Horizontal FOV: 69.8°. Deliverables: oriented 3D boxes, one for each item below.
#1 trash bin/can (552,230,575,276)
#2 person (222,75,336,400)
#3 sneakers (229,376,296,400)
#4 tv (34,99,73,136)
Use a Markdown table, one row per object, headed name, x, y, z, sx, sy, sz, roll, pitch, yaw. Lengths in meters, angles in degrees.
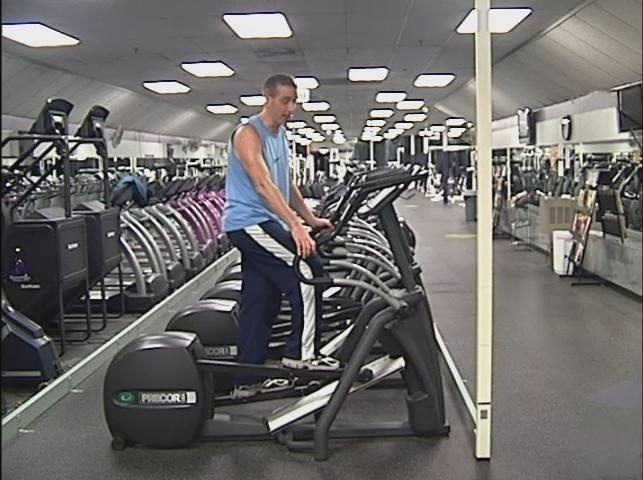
| name | x | y | z | sx | sy | sz | roll | pitch | yaw |
| --- | --- | --- | --- | --- | --- | --- | --- | --- | --- |
| trash bin/can | 3.387 | 0.216 | 6.628 | 0.326 | 0.635 | 0.371 | 0 | 3 | -3 |
| person | -0.257 | -0.015 | 2.780 | 0.710 | 1.898 | 0.489 | 3 | 8 | 26 |
| sneakers | -0.364 | 0.875 | 2.855 | 0.417 | 0.190 | 0.157 | 0 | -1 | -8 |
| tv | -2.113 | -0.930 | 3.519 | 0.276 | 0.271 | 0.257 | -3 | 9 | -32 |
